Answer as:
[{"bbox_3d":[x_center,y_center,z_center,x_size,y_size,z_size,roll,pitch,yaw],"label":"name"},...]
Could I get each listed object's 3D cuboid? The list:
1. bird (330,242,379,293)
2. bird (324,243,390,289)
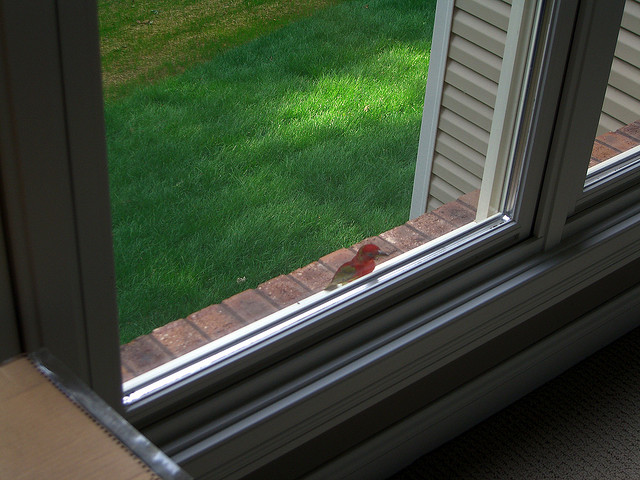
[{"bbox_3d":[0.066,0.062,1.257,0.138,0.111,0.054,2,21,6],"label":"bird"},{"bbox_3d":[0.070,0.060,1.254,0.159,0.089,0.051,-1,6,20],"label":"bird"}]
